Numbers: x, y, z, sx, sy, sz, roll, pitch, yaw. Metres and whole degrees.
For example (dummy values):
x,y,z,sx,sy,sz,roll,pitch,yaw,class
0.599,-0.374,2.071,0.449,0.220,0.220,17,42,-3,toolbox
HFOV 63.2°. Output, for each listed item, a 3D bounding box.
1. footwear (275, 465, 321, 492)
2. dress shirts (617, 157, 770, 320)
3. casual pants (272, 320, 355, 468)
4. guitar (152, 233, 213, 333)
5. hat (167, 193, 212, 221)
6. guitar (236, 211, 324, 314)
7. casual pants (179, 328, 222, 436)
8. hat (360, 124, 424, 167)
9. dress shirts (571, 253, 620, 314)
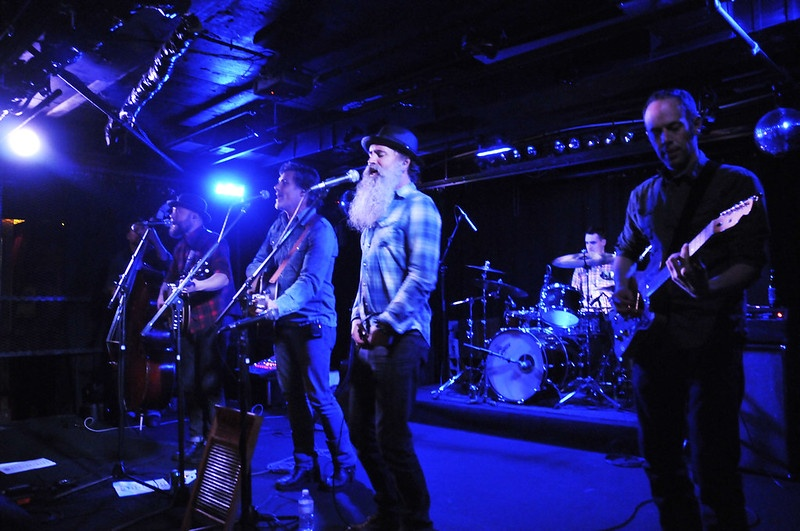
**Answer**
x,y,z,sx,sy,sz,roll,pitch,yaw,class
-0.995,2.123,6.445,0.437,0.188,0.204,11,-21,-29,footwear
2.205,-0.140,4.918,0.396,1.211,0.933,11,-1,-38,dress shirts
-0.843,1.262,6.443,0.821,1.429,0.449,2,-8,-5,casual pants
-2.453,0.221,7.394,0.184,0.563,1.412,31,-57,-16,guitar
-2.427,-0.681,7.584,0.313,0.134,0.367,5,-20,36,hat
-1.028,0.018,6.357,0.990,0.974,0.306,-1,-12,38,guitar
-2.195,1.330,7.257,0.479,1.179,0.441,1,-8,-1,casual pants
-0.050,-1.104,5.684,0.430,0.147,0.365,29,-15,-38,hat
2.546,0.226,8.474,0.767,0.428,0.754,-10,28,19,dress shirts
